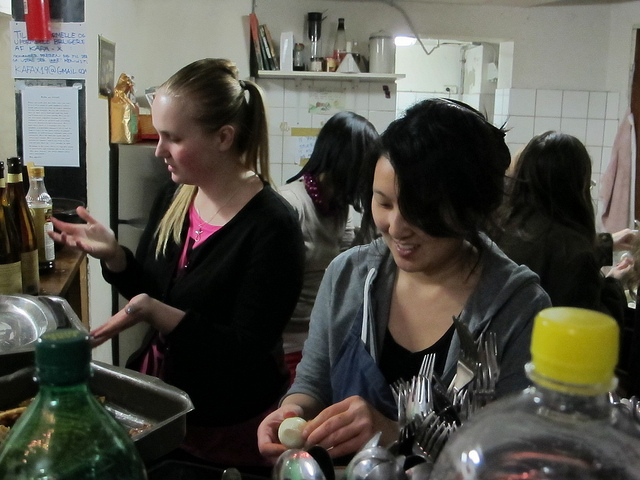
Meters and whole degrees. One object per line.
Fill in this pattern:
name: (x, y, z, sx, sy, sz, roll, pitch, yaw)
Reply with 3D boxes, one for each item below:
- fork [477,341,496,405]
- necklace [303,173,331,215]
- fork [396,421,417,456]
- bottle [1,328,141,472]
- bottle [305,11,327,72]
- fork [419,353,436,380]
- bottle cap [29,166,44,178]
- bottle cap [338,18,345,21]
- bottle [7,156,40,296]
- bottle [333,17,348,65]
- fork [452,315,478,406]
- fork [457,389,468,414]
fork: (0.260, 0.199, 0.835, 0.033, 0.135, 0.003, -7, 16, 2)
necklace: (-0.001, -0.221, 2.622, 0.079, 0.244, 0.296, 2, 12, 7)
fork: (0.133, 0.303, 0.825, 0.010, 0.039, 0.043, 8, 42, 33)
bottle: (-0.287, 0.187, 0.590, 0.150, 0.184, 0.059, -2, 11, -6)
bottle: (-0.036, -1.664, 4.524, 0.186, 0.483, 0.242, 0, 11, 1)
fork: (0.208, 0.244, 1.034, 0.027, 0.006, 0.109, -16, 28, 26)
bottle cap: (-0.969, -0.230, 1.837, 0.043, 0.034, 0.044, 5, 4, 39)
bottle cap: (0.187, -1.871, 4.563, 0.034, 0.027, 0.036, -1, 9, -8)
bottle: (-0.895, -0.028, 1.616, 0.092, 0.428, 0.135, -3, 6, -42)
bottle: (0.171, -1.690, 4.539, 0.122, 0.397, 0.243, 0, 12, 3)
fork: (0.255, 0.218, 0.947, 0.022, 0.159, 0.026, -18, 32, -42)
fork: (0.224, 0.255, 0.848, 0.008, 0.027, 0.026, 7, 32, -4)
